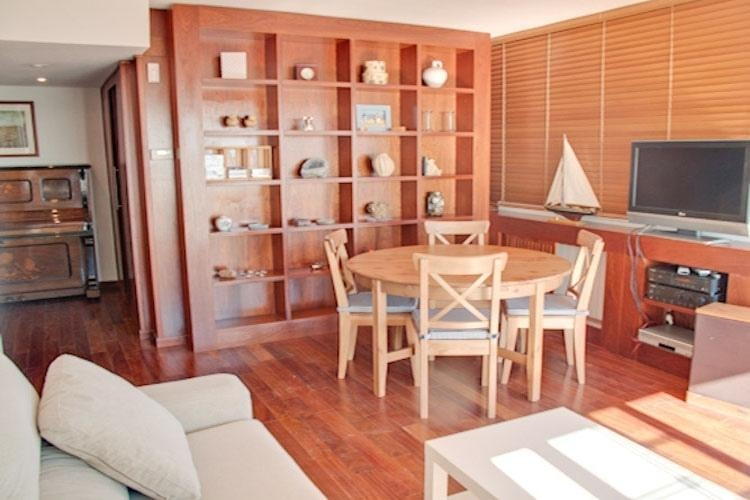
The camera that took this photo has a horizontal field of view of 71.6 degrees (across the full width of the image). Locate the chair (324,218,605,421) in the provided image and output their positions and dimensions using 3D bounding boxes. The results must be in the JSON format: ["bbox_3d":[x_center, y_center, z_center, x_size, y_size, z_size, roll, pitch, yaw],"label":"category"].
[{"bbox_3d":[0.532,0.441,4.284,1.613,1.235,1.661,-8,12,-32],"label":"chair"}]
